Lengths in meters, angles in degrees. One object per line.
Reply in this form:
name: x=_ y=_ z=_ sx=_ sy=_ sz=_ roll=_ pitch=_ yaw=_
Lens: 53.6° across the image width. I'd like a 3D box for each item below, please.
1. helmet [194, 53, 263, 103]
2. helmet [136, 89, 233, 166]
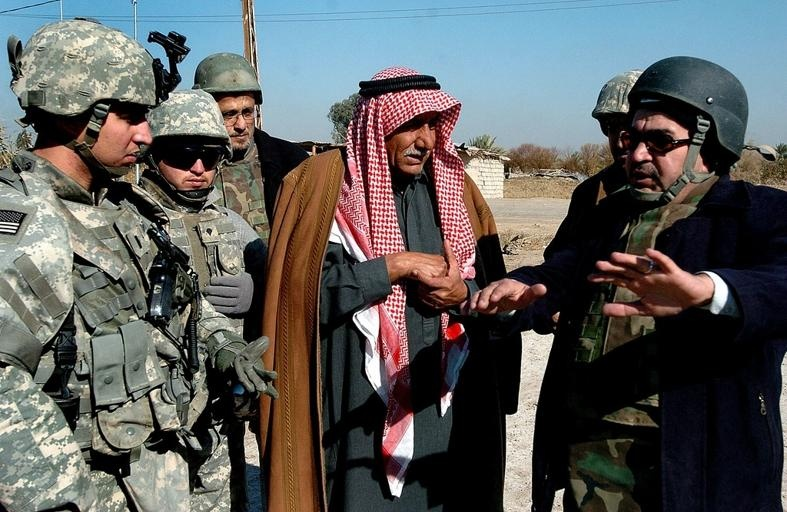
helmet: x=-1.345 y=-1.392 z=6.195 sx=0.474 sy=0.467 sz=0.578 roll=-8 pitch=16 yaw=-31
helmet: x=-1.305 y=-0.795 z=5.046 sx=0.489 sy=0.479 sz=0.614 roll=1 pitch=-30 yaw=-22
